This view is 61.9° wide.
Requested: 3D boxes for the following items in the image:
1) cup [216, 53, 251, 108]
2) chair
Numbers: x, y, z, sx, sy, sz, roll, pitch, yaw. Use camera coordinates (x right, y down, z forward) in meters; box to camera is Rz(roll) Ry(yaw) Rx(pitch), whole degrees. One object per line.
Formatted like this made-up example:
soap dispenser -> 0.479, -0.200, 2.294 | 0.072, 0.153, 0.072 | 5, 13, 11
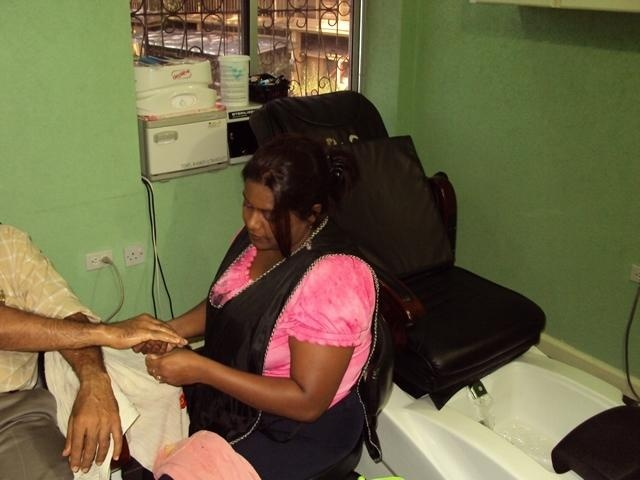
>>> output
cup -> -0.464, -0.861, 2.907 | 0.158, 0.266, 0.171 | 1, 19, 0
chair -> 0.339, -0.033, 2.462 | 0.920, 1.049, 1.321 | -12, 24, -25
